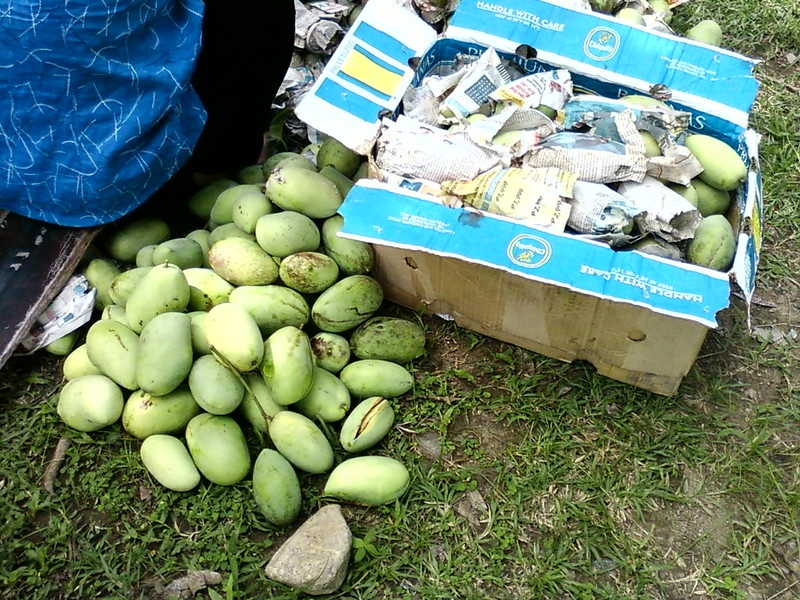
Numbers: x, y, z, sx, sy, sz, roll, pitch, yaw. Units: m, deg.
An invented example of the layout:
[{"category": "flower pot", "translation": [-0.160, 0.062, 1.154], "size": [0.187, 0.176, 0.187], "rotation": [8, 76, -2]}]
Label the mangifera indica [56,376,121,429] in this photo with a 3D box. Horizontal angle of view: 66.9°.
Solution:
[{"category": "mangifera indica", "translation": [-1.024, 0.338, 2.044], "size": [0.220, 0.125, 0.154], "rotation": [11, 95, 8]}]

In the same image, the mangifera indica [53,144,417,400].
[{"category": "mangifera indica", "translation": [-0.467, -0.046, 2.018], "size": [1.166, 0.318, 0.833], "rotation": [-5, 47, -3]}]

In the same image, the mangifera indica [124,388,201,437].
[{"category": "mangifera indica", "translation": [-0.781, 0.369, 2.048], "size": [0.216, 0.147, 0.145], "rotation": [-25, 79, -12]}]
